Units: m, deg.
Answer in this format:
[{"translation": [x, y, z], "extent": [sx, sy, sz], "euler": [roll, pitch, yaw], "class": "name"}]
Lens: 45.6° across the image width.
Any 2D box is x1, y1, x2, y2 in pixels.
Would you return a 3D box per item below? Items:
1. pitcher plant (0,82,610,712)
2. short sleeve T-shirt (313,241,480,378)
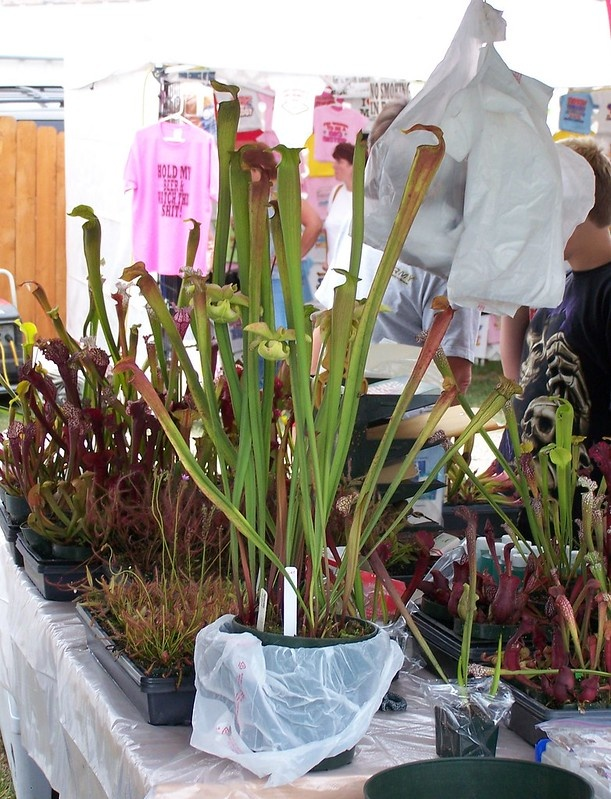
[{"translation": [0.009, 0.005, 1.255], "extent": [0.751, 0.993, 0.711], "euler": [21, 6, 41], "class": "pitcher plant"}, {"translation": [0.294, -0.476, 2.560], "extent": [0.229, 0.548, 0.659], "euler": [11, 41, 26], "class": "short sleeve T-shirt"}]
